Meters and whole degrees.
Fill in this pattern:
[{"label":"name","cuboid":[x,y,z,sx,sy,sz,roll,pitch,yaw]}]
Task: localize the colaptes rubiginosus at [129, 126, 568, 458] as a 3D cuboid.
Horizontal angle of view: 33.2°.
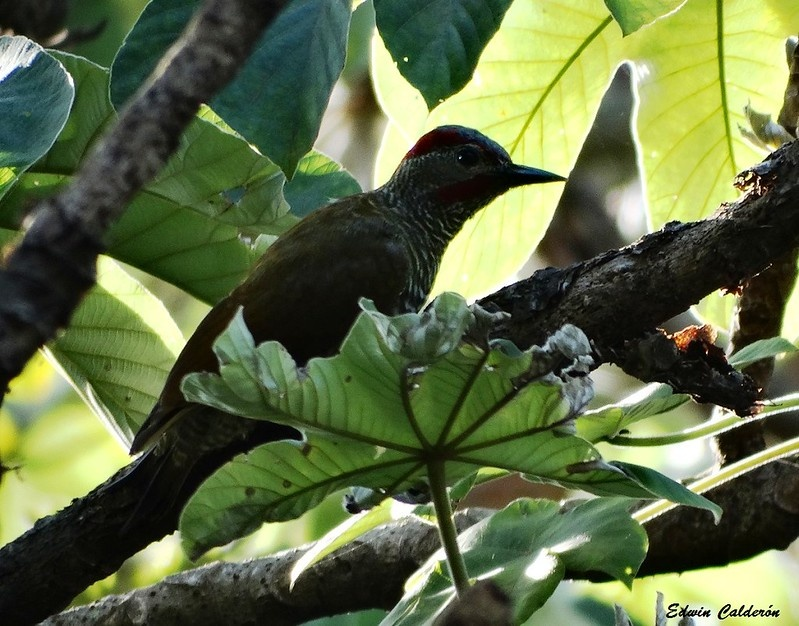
[{"label":"colaptes rubiginosus","cuboid":[-0.073,-0.027,1.657,0.492,0.221,0.160,-29,-51,-6]}]
